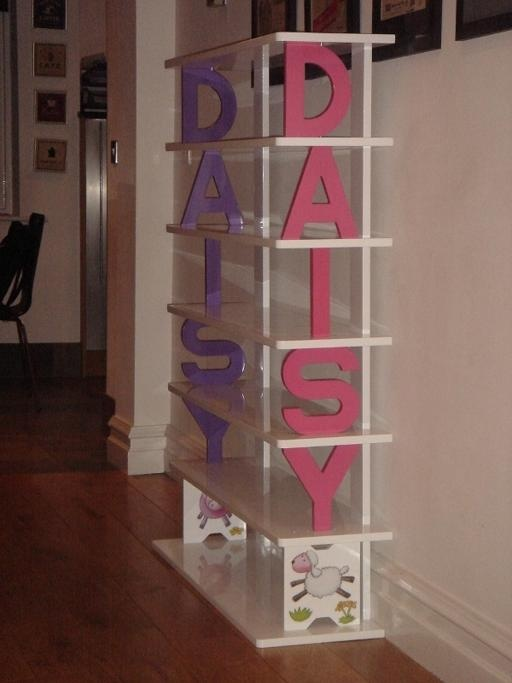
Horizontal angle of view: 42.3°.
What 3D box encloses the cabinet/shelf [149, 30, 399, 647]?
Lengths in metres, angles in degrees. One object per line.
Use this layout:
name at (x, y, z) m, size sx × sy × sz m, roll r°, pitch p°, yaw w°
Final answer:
cabinet/shelf at (-0.055, -0.112, 1.908) m, size 0.493 × 1.496 × 1.246 m, roll -2°, pitch 5°, yaw -15°
